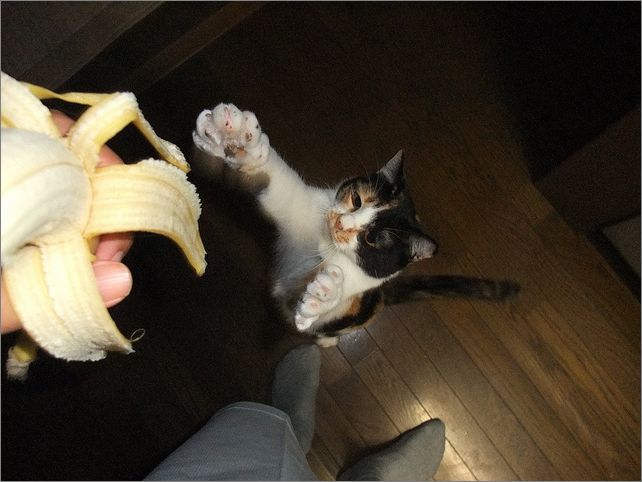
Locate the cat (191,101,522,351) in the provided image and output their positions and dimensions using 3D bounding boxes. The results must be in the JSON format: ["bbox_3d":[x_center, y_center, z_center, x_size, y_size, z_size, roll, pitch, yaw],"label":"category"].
[{"bbox_3d":[0.148,-0.039,2.749,0.680,1.288,0.828,-41,66,26],"label":"cat"}]
